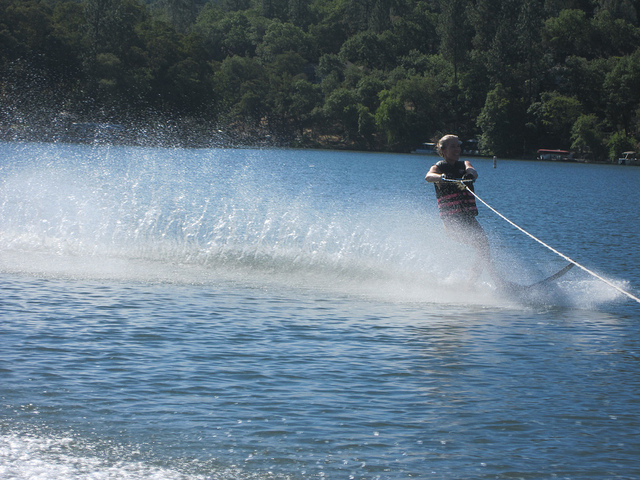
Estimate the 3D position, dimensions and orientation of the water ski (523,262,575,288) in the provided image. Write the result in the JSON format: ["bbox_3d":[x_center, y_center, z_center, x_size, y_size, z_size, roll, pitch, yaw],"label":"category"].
[{"bbox_3d":[6.260,0.976,32.525,1.943,0.079,0.289,-19,-6,30],"label":"water ski"}]
